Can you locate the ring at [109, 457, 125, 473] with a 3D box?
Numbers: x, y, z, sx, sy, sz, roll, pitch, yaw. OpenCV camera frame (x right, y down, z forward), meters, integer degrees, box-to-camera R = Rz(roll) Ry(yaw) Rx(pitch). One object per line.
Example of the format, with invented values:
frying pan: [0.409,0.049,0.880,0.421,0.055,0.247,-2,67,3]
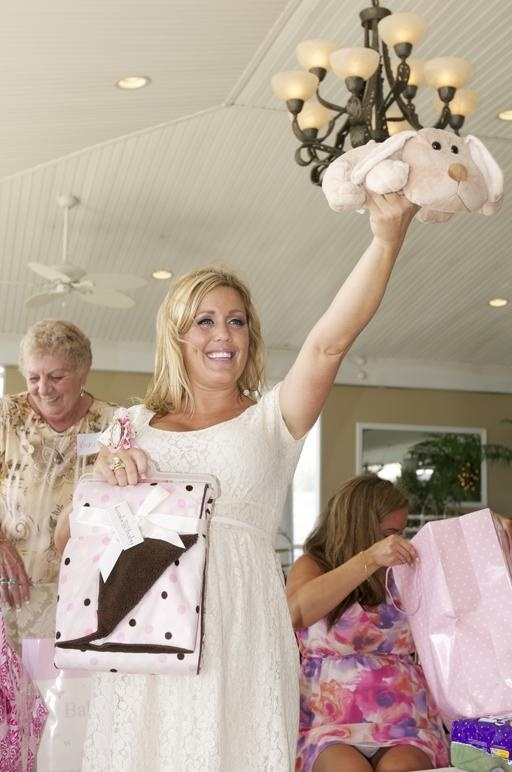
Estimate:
ring: [-0.219,0.123,1.034,0.020,0.024,0.009,3,-8,28]

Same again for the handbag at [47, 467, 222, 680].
handbag: [-0.176,0.272,0.954,0.236,0.292,0.093,-3,-17,14]

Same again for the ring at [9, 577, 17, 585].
ring: [-0.682,0.553,1.868,0.014,0.016,0.007,6,-14,-6]

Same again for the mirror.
mirror: [1.499,0.804,6.478,1.322,0.854,0.052,3,-21,-10]

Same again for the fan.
fan: [-1.244,-0.917,4.258,0.685,0.608,0.762,8,18,12]
